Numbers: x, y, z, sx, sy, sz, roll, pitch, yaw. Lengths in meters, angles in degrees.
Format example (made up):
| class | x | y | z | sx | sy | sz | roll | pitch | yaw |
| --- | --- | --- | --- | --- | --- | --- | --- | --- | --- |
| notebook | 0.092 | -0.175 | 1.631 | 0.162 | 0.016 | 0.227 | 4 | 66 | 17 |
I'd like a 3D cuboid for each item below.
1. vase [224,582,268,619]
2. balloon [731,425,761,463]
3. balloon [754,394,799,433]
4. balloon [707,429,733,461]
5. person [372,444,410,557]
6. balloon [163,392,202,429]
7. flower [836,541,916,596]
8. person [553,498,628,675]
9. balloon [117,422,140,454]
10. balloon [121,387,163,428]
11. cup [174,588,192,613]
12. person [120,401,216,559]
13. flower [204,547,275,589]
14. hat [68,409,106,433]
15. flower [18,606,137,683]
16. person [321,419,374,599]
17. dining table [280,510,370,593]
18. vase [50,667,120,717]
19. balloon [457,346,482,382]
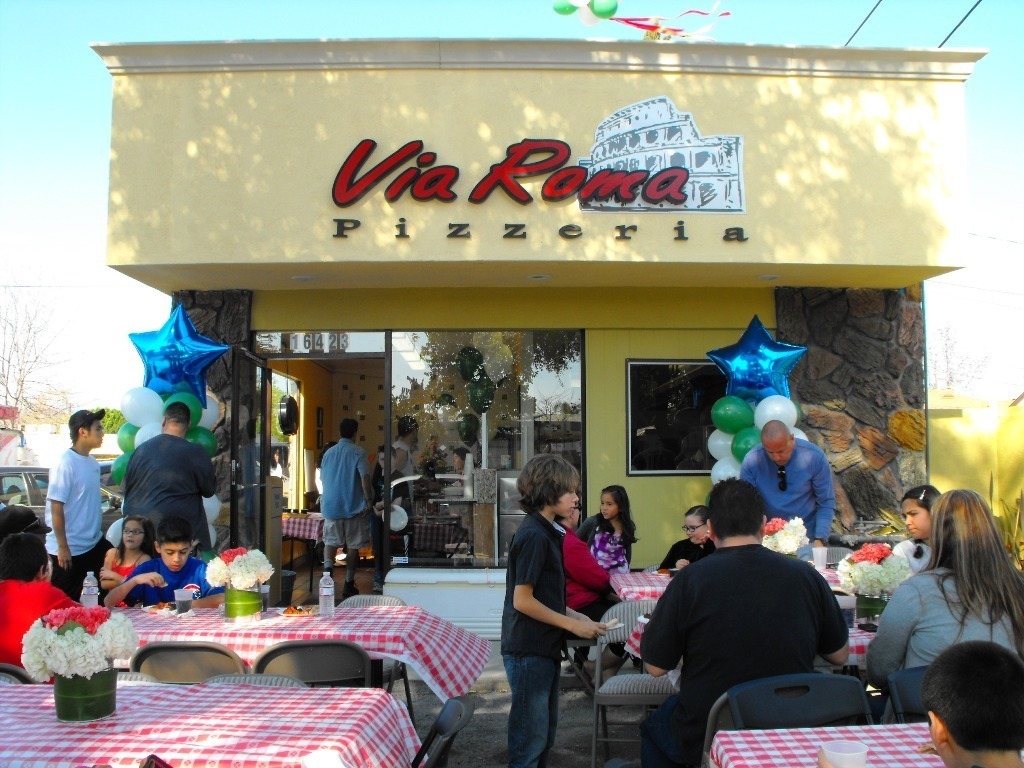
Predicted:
| class | x | y | z | sx | sy | sz | roll | pitch | yaw |
| --- | --- | --- | --- | --- | --- | --- | --- | --- | --- |
| vase | -1.596 | 1.286 | 6.107 | 0.196 | 0.170 | 0.197 | 3 | -10 | -15 |
| balloon | 2.039 | 0.536 | 8.979 | 0.258 | 0.322 | 0.265 | 2 | -14 | -5 |
| balloon | 2.262 | 0.275 | 8.956 | 0.328 | 0.394 | 0.335 | 2 | -16 | -4 |
| balloon | 1.864 | 0.554 | 9.351 | 0.221 | 0.268 | 0.228 | -1 | -11 | -5 |
| person | -1.171 | 1.143 | 10.180 | 0.566 | 1.042 | 0.236 | -1 | -1 | 6 |
| balloon | -2.732 | 0.218 | 8.478 | 0.242 | 0.257 | 0.297 | 0 | 16 | 5 |
| flower | 2.069 | 1.075 | 5.915 | 0.303 | 0.297 | 0.338 | 0 | 7 | 37 |
| person | 0.496 | 1.383 | 7.145 | 0.621 | 1.144 | 0.505 | 5 | -14 | -22 |
| balloon | -3.321 | 0.478 | 8.896 | 0.225 | 0.271 | 0.228 | 8 | -9 | -12 |
| balloon | -3.185 | 0.219 | 8.821 | 0.369 | 0.328 | 0.309 | 19 | -25 | -32 |
| cup | -2.022 | 1.329 | 6.351 | 0.119 | 0.139 | 0.124 | 0 | -13 | 0 |
| person | -2.710 | 1.048 | 8.018 | 0.593 | 1.766 | 0.530 | 7 | 1 | -3 |
| flower | -1.640 | 1.102 | 6.185 | 0.291 | 0.220 | 0.256 | 0 | 5 | 5 |
| hat | -3.329 | 0.309 | 8.012 | 0.230 | 0.197 | 0.303 | 2 | -2 | -24 |
| flower | -1.893 | 1.113 | 4.475 | 0.398 | 0.323 | 0.282 | -1 | -44 | 2 |
| person | -1.745 | 1.272 | 10.785 | 0.518 | 1.783 | 0.960 | 2 | -2 | -10 |
| dining table | -2.314 | 1.996 | 12.068 | 1.028 | 0.668 | 1.048 | 0 | 4 | -4 |
| vase | -1.850 | 1.322 | 4.462 | 0.231 | 0.180 | 0.184 | 0 | -1 | -3 |
| balloon | -0.427 | -0.184 | 9.996 | 0.241 | 0.341 | 0.097 | 7 | -1 | -5 |
